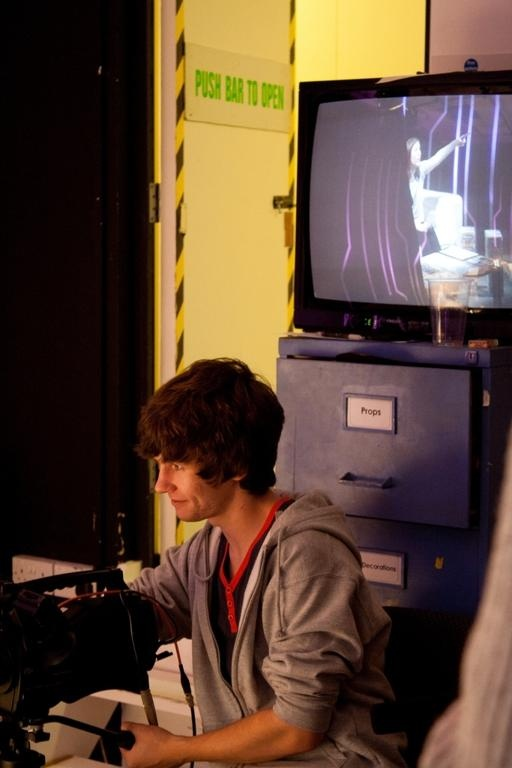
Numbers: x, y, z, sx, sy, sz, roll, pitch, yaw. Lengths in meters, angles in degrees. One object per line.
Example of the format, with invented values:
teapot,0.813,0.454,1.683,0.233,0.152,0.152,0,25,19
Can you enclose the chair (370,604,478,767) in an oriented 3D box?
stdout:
chair,0.291,0.556,1.456,0.198,0.325,0.224,6,-25,21
